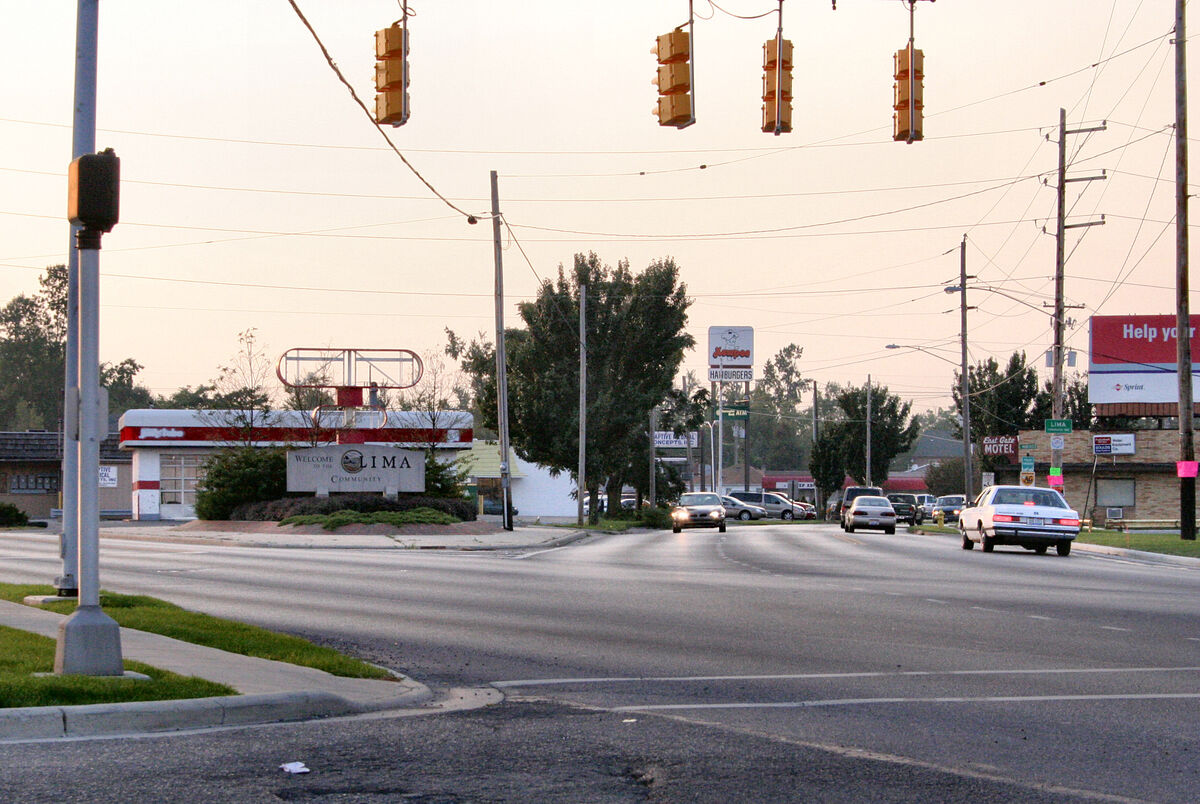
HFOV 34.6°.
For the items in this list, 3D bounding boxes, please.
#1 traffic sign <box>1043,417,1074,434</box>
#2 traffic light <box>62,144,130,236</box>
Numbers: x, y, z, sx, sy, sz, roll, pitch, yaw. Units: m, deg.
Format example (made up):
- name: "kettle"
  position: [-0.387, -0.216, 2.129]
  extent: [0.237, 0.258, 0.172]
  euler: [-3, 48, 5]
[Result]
- name: "traffic sign"
  position: [14.410, 0.797, 61.080]
  extent: [0.716, 0.553, 1.617]
  euler: [-1, -5, 13]
- name: "traffic light"
  position: [-7.464, -3.074, 28.418]
  extent: [0.698, 1.212, 0.457]
  euler: [1, -4, -6]
